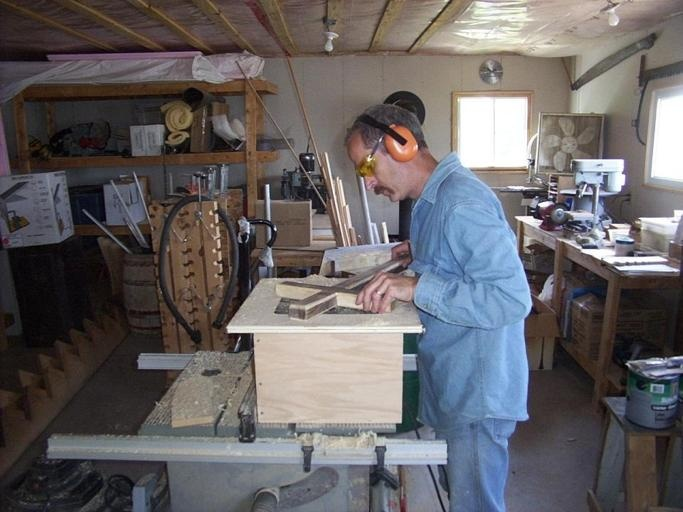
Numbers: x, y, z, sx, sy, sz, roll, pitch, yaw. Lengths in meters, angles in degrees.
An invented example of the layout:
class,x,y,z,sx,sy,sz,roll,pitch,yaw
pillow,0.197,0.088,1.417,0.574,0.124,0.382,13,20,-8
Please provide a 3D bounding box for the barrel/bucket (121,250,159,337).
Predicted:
class,x,y,z,sx,sy,sz,roll,pitch,yaw
barrel/bucket,-1.844,0.361,5.152,0.402,0.797,0.288,2,10,5

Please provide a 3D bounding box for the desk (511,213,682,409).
class,x,y,z,sx,sy,sz,roll,pitch,yaw
desk,1.897,0.434,4.086,0.467,0.804,1.392,-3,16,-7

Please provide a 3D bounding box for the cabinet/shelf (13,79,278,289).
class,x,y,z,sx,sy,sz,roll,pitch,yaw
cabinet/shelf,-1.776,-0.444,6.162,3.001,1.759,1.601,0,13,2

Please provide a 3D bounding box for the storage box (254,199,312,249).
class,x,y,z,sx,sy,sz,roll,pitch,yaw
storage box,-0.491,-0.289,4.798,0.432,0.369,0.426,-1,7,-5

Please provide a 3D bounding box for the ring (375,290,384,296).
class,x,y,z,sx,sy,sz,roll,pitch,yaw
ring,0.143,0.143,2.167,0.023,0.016,0.022,-2,-1,0

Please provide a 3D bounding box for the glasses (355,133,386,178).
class,x,y,z,sx,sy,sz,roll,pitch,yaw
glasses,0.104,-0.412,2.314,0.045,0.151,0.114,21,4,2

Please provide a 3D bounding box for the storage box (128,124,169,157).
class,x,y,z,sx,sy,sz,roll,pitch,yaw
storage box,-1.875,-1.117,5.408,0.336,0.308,0.316,3,21,-2
